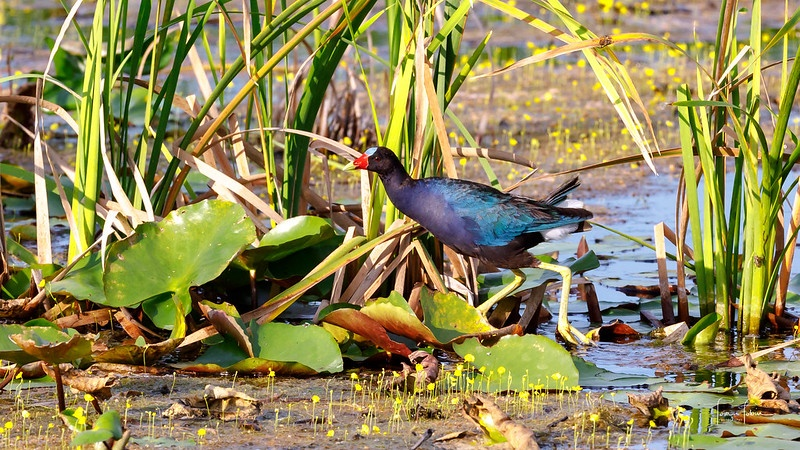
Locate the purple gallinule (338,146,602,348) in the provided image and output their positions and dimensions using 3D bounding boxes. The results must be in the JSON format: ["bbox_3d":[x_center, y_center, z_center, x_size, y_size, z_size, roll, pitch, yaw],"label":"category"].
[{"bbox_3d":[0.459,-0.011,5.431,1.571,1.138,0.795,-6,18,-4],"label":"purple gallinule"}]
